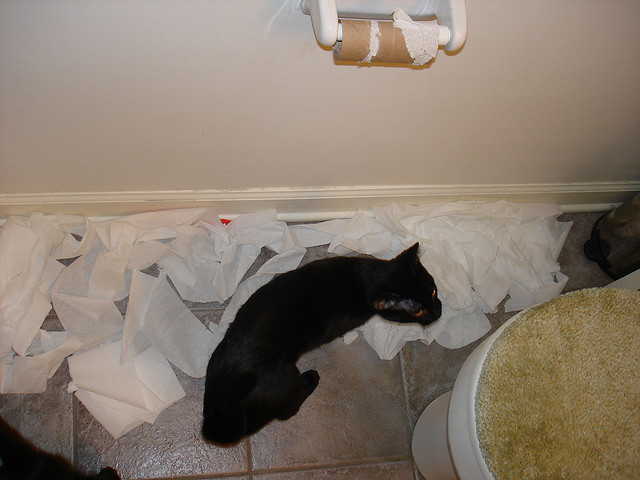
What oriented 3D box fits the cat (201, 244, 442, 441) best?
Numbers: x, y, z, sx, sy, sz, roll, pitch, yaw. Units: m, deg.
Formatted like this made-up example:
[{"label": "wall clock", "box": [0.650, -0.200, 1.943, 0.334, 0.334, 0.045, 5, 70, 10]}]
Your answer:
[{"label": "cat", "box": [-0.047, 0.227, 1.388, 0.680, 0.375, 0.338, -32, 66, -10]}]
